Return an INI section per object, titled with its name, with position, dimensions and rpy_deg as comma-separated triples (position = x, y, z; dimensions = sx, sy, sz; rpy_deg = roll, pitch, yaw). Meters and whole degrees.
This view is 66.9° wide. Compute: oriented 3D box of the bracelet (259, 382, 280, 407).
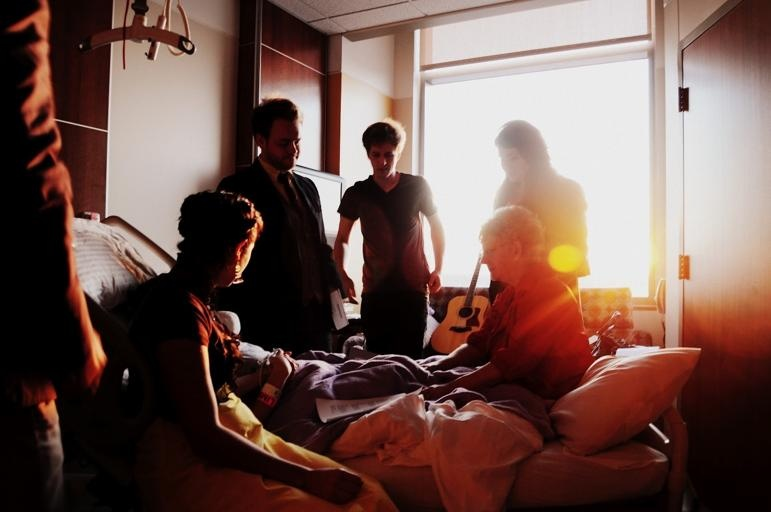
[bracelet]
position = -0.402, 0.479, 2.055
dimensions = 0.066, 0.072, 0.073
rpy_deg = 23, 1, 10

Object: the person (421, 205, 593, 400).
[person]
position = 0.479, 0.226, 2.576
dimensions = 0.727, 0.851, 0.606
rpy_deg = -2, -8, 8

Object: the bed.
[bed]
position = 0.022, 0.297, 2.058
dimensions = 1.739, 1.044, 1.049
rpy_deg = -3, 2, -4
